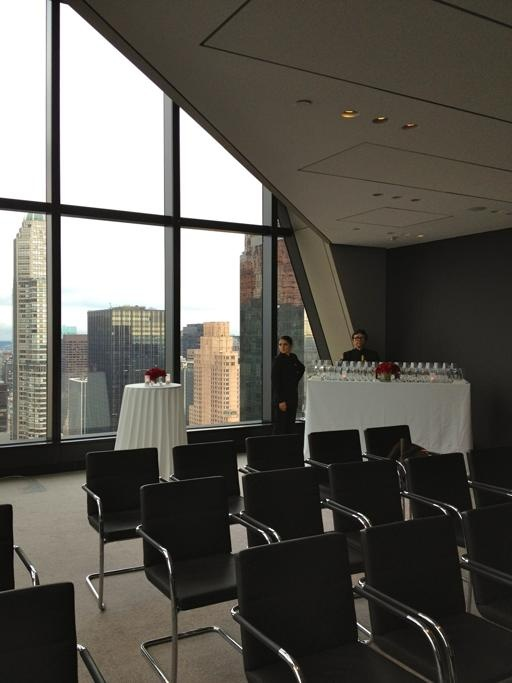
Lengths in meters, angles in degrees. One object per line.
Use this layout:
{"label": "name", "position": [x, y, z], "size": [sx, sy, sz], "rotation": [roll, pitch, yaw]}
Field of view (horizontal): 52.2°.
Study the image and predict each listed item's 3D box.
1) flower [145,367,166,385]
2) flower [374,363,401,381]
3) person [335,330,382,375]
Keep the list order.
{"label": "flower", "position": [-1.033, 0.353, 5.327], "size": [0.151, 0.151, 0.157], "rotation": [1, -4, -22]}
{"label": "flower", "position": [1.427, 0.324, 5.771], "size": [0.196, 0.221, 0.207], "rotation": [0, -1, 34]}
{"label": "person", "position": [1.383, 0.144, 7.181], "size": [0.413, 0.807, 0.272], "rotation": [-1, -19, 7]}
